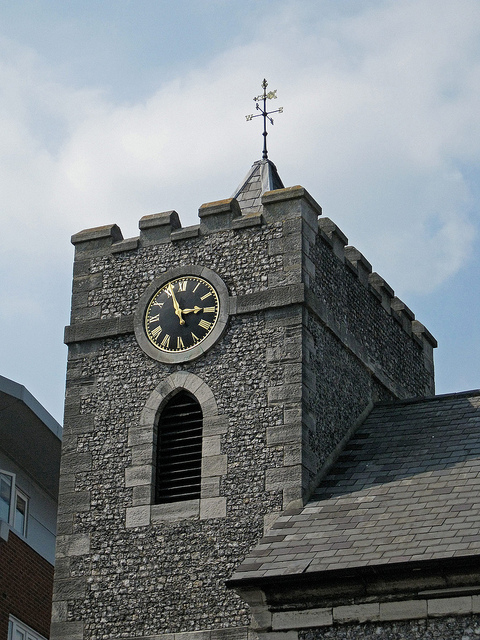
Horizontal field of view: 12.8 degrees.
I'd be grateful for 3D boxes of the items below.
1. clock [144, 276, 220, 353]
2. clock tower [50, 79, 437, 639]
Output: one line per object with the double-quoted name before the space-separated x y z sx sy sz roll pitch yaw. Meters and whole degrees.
"clock" -0.994 -0.049 38.446 1.145 1.375 0.133 2 -26 22
"clock tower" -0.107 2.041 36.698 4.361 11.757 5.399 -13 -31 27
